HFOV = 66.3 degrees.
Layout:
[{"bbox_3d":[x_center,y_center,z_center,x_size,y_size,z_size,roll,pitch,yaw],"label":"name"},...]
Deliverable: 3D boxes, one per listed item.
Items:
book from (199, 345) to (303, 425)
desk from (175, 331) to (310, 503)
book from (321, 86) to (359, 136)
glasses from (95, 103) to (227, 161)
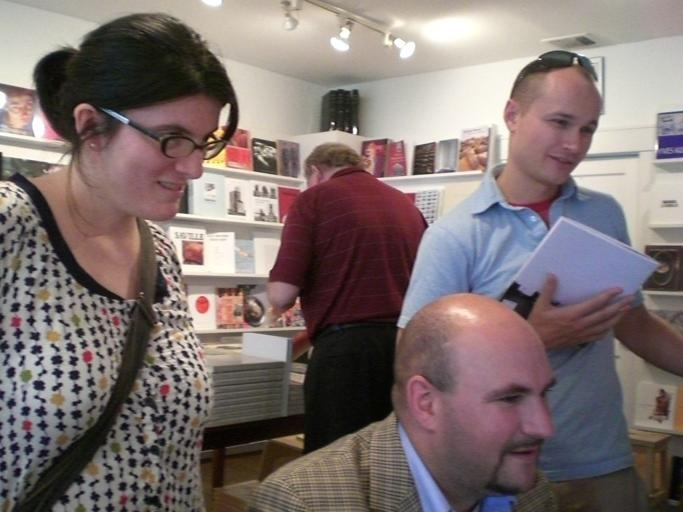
[{"bbox_3d":[-0.400,0.569,2.244,0.531,0.205,0.352,5,-9,-43],"label":"book"},{"bbox_3d":[-0.250,0.752,2.444,0.697,0.576,0.643,-7,-26,18],"label":"desk"},{"bbox_3d":[-0.033,-1.651,5.993,0.484,0.532,0.296,-2,6,2],"label":"book"},{"bbox_3d":[-0.367,-0.253,1.090,0.188,0.045,0.182,6,-4,21],"label":"glasses"}]
